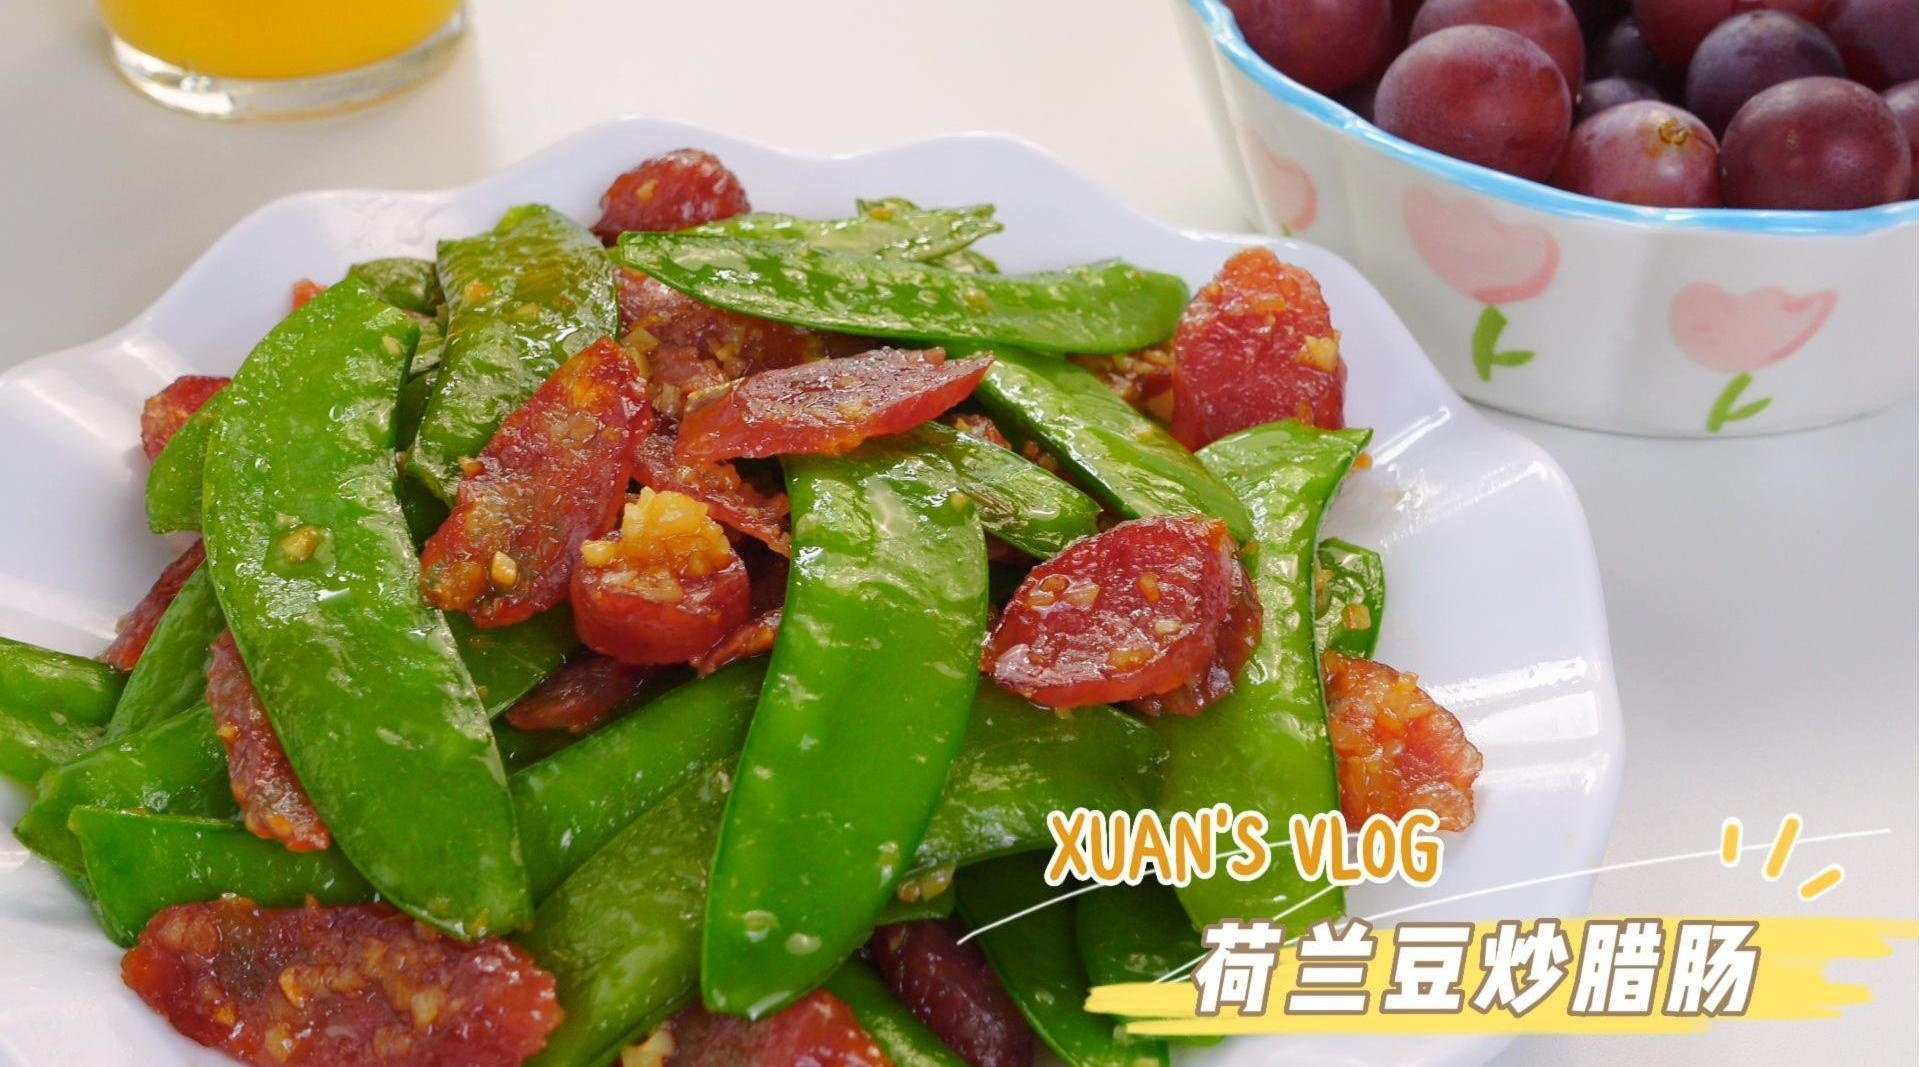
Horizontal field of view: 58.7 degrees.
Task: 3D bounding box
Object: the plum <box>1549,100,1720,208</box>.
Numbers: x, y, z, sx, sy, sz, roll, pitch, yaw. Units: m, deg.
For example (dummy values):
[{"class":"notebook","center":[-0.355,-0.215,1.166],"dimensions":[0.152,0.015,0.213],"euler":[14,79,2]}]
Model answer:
[{"class":"plum","center":[1.286,-0.706,3.282],"dimensions":[0.199,0.194,0.264],"euler":[-36,31,-31]}]
